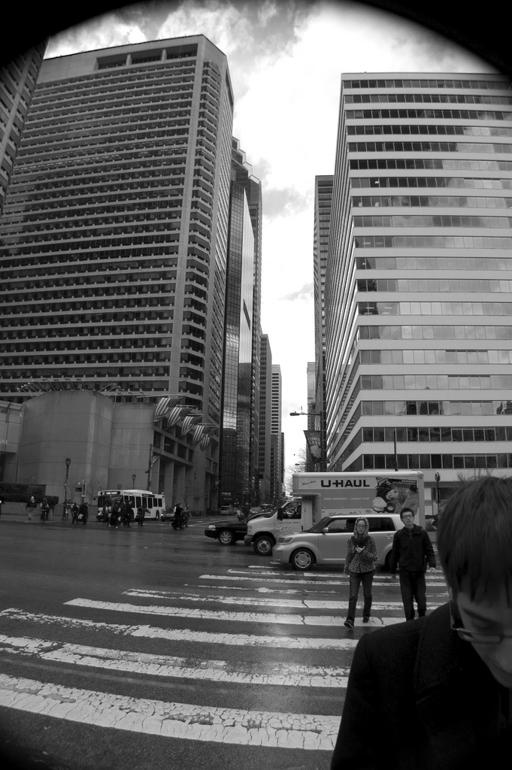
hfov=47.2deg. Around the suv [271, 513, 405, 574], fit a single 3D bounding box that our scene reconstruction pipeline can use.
[{"bbox_3d":[2.059,4.056,15.539,3.077,1.613,2.102,2,-11,4],"label":"suv"}]
